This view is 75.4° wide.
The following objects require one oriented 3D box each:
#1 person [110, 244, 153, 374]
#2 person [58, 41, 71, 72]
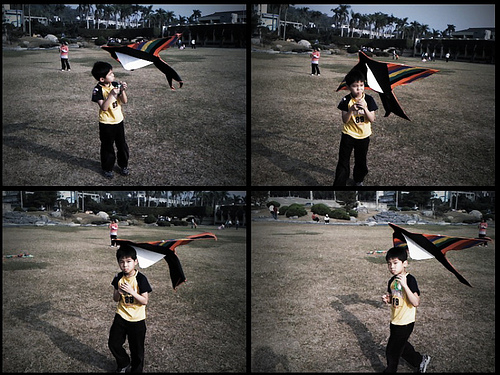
[{"bbox_3d":[-1.385,1.480,3.749,0.506,1.633,0.314,-1,9,-3],"label":"person"},{"bbox_3d":[-5.805,-4.116,10.102,0.252,0.837,0.631,-5,10,-26],"label":"person"}]
